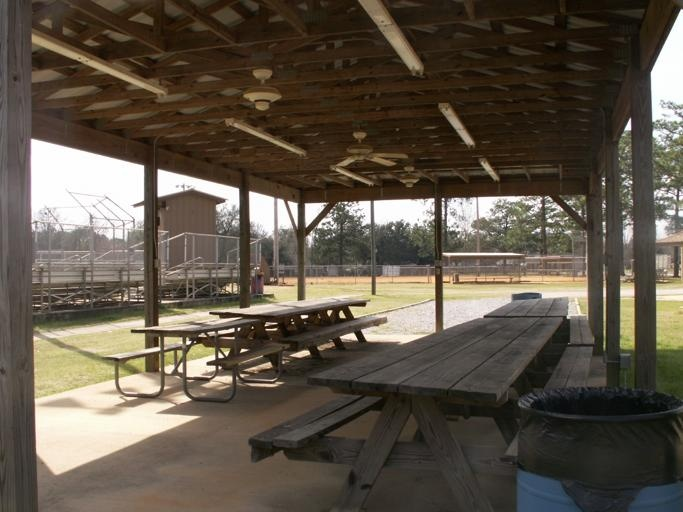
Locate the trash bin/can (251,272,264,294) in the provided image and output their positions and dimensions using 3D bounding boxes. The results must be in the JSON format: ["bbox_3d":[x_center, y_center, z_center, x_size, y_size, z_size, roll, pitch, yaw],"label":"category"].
[{"bbox_3d":[-3.371,1.083,22.488,0.424,0.856,0.632,-3,-1,-13],"label":"trash bin/can"}]

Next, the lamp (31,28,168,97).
[{"bbox_3d":[-2.045,-1.662,5.079,0.080,0.119,1.165,7,-6,35],"label":"lamp"}]

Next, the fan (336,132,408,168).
[{"bbox_3d":[0.280,-1.482,7.947,1.216,0.333,1.114,-5,16,-29],"label":"fan"}]

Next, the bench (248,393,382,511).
[{"bbox_3d":[-0.176,1.285,3.472,0.438,0.088,1.257,6,0,21],"label":"bench"}]
